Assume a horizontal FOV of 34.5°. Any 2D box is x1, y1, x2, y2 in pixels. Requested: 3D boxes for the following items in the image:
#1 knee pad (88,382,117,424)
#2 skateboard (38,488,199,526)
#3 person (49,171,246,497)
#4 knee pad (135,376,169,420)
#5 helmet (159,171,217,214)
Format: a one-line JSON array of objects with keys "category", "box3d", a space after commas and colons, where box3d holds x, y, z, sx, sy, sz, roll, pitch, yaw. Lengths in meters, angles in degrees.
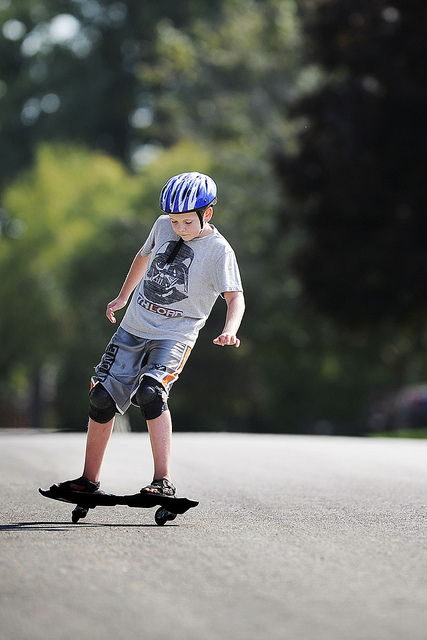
[{"category": "knee pad", "box3d": [-0.539, 0.407, 3.309, 0.173, 0.131, 0.194, 1, 8, 1]}, {"category": "skateboard", "box3d": [-0.411, 0.833, 3.138, 1.040, 0.142, 0.233, 2, -19, 7]}, {"category": "person", "box3d": [-0.247, 0.074, 3.389, 0.853, 1.660, 0.729, 12, 6, 20]}, {"category": "knee pad", "box3d": [-0.299, 0.385, 3.318, 0.165, 0.231, 0.160, 9, 5, -4]}, {"category": "helmet", "box3d": [-0.132, -0.641, 3.445, 0.264, 0.160, 0.365, 14, 14, 22]}]
